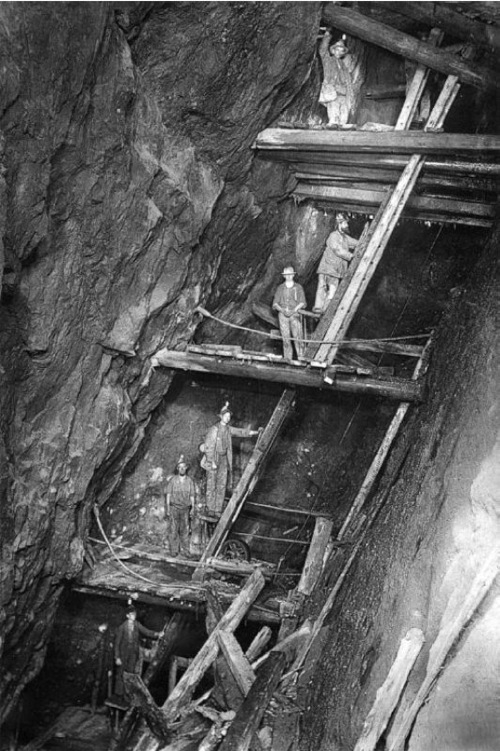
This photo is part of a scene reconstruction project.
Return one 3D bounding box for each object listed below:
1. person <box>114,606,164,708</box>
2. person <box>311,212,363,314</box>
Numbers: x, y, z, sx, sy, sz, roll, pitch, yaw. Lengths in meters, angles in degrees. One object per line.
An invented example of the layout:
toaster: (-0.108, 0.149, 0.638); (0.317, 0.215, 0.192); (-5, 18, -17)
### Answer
person: (-1.491, 3.526, 11.000); (0.515, 0.775, 0.573); (19, -11, -6)
person: (1.093, -1.393, 11.242); (0.403, 1.393, 0.655); (17, -11, 1)
